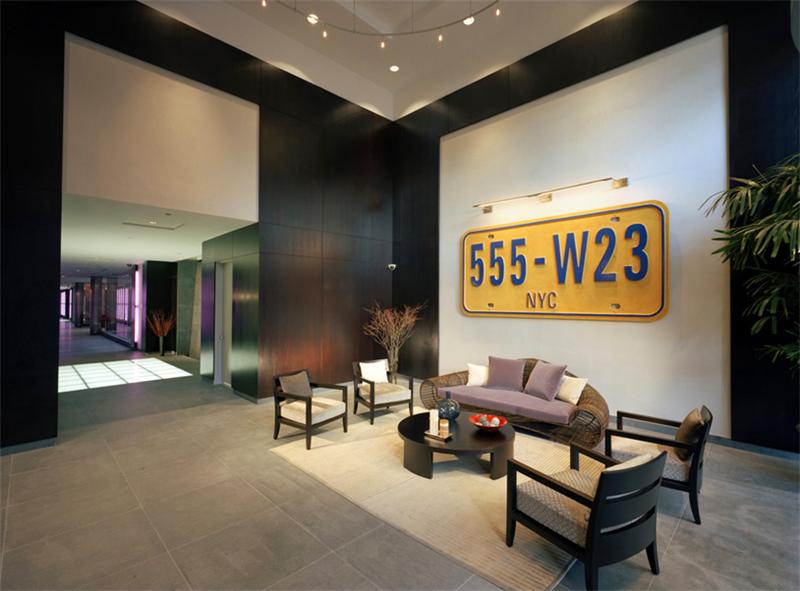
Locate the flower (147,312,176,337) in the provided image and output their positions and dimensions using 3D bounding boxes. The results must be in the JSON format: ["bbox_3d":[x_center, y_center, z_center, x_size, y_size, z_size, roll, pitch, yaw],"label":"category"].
[{"bbox_3d":[-6.406,0.810,14.209,0.597,0.663,0.600,6,-9,-39],"label":"flower"}]

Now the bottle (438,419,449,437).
[{"bbox_3d":[0.551,1.685,6.663,0.149,0.271,0.157,1,-5,0],"label":"bottle"}]

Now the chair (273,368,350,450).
[{"bbox_3d":[-1.307,1.577,7.912,0.936,1.165,1.025,-1,-2,34],"label":"chair"}]

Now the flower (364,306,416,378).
[{"bbox_3d":[-0.164,0.923,10.804,1.167,1.604,1.243,5,-7,-43],"label":"flower"}]

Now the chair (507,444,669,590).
[{"bbox_3d":[1.840,2.118,5.635,1.195,1.482,1.447,2,-2,-28],"label":"chair"}]

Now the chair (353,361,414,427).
[{"bbox_3d":[-0.254,1.563,8.747,0.741,0.980,0.917,2,-5,-29],"label":"chair"}]

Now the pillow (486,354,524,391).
[{"bbox_3d":[1.695,1.257,8.472,0.428,0.444,0.165,-1,-31,30],"label":"pillow"}]

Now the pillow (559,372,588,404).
[{"bbox_3d":[2.579,1.398,7.808,0.110,0.365,0.363,30,-8,-24],"label":"pillow"}]

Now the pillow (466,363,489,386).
[{"bbox_3d":[1.292,1.320,8.734,0.280,0.292,0.107,2,-29,21],"label":"pillow"}]
